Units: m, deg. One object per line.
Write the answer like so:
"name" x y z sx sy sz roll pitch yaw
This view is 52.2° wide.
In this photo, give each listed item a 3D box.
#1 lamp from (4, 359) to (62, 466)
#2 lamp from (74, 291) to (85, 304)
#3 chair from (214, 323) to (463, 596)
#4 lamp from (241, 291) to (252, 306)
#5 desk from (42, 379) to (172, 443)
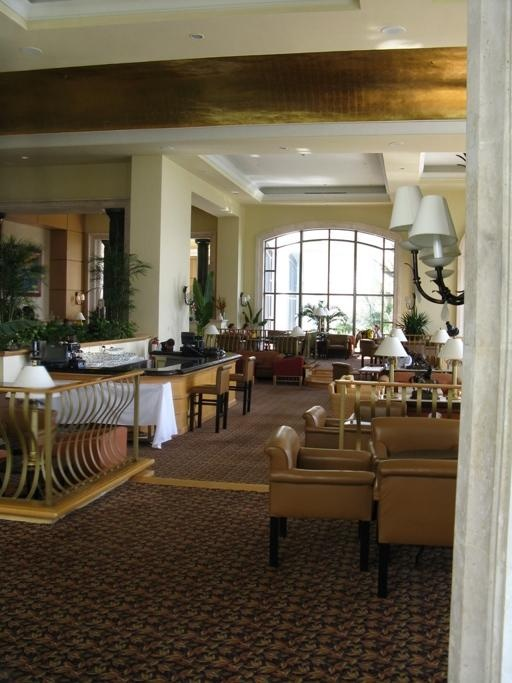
"lamp" -1.914 0.587 4.399 0.337 0.900 1.790 1 1 -26
"lamp" -5.993 -1.543 17.725 0.222 0.434 0.442 0 4 14
"chair" 0.822 0.806 3.548 1.065 1.302 1.064 2 2 10
"lamp" -0.348 -1.491 18.077 0.242 0.422 0.637 1 1 13
"desk" -2.126 0.817 6.427 1.564 0.725 1.614 -9 -16 42
